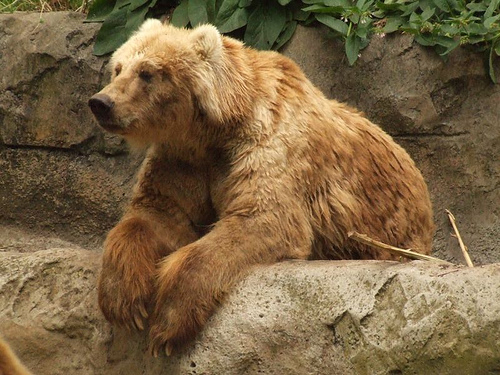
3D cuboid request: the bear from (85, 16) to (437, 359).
[{"bbox_3d":[-0.106,-0.162,5.976,2.577,1.199,2.070,-20,57,-14],"label":"bear"}]
